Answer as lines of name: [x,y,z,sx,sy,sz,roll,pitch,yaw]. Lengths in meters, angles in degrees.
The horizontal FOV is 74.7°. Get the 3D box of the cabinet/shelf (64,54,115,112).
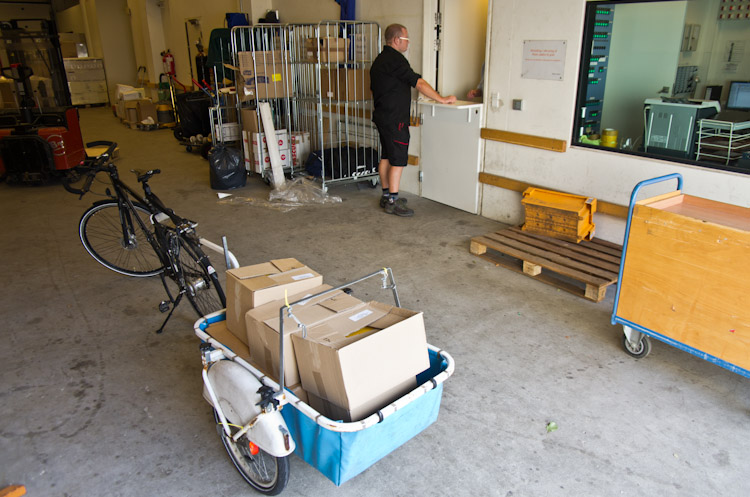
cabinet/shelf: [-9.405,-5.569,16.607,1.712,1.497,0.971,4,16,16]

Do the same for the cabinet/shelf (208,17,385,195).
cabinet/shelf: [-1.098,-2.081,7.465,2.584,2.369,1.507,22,34,35]

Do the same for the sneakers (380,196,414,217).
sneakers: [0.299,-0.570,6.578,0.503,0.227,0.198,11,27,26]

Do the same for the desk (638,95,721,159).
desk: [2.992,-1.175,5.014,0.579,0.703,0.775,-11,17,-37]

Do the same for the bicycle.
bicycle: [-2.036,-0.146,4.524,2.177,1.275,0.644,17,40,35]

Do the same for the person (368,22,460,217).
person: [0.311,-1.621,6.330,0.892,2.341,0.630,5,24,17]

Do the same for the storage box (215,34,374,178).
storage box: [-1.128,-2.125,7.476,2.126,1.974,1.175,17,30,34]

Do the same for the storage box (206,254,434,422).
storage box: [-0.323,0.518,3.061,1.276,0.752,0.751,19,29,34]

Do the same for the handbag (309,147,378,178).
handbag: [-0.449,-1.297,7.342,0.769,0.237,0.568,-10,21,-28]
